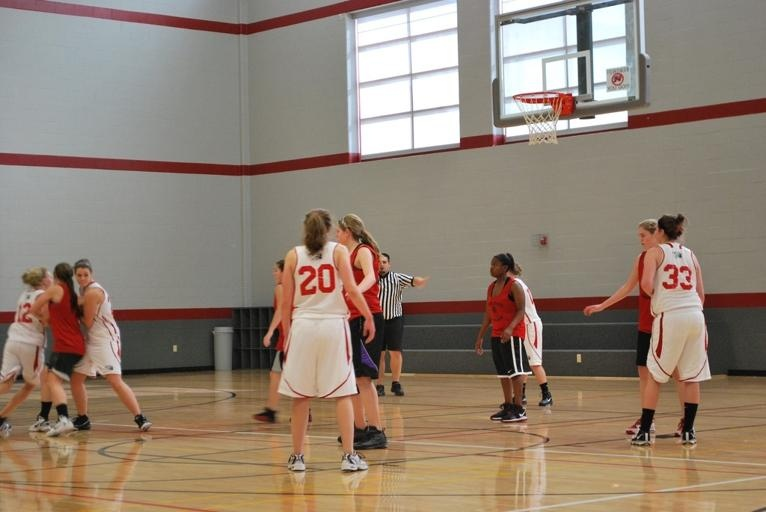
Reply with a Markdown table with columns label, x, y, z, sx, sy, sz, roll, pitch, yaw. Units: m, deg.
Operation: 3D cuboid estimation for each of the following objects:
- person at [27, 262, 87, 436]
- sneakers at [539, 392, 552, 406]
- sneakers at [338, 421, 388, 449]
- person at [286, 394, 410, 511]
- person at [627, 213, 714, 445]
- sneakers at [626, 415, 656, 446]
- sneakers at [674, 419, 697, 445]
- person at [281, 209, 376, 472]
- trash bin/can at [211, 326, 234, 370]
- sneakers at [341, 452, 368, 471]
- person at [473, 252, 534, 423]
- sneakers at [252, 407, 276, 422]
| label | x | y | z | sx | sy | sz | roll | pitch | yaw |
| --- | --- | --- | --- | --- | --- | --- | --- | --- | --- |
| person | -3.712 | 1.080 | 7.214 | 0.531 | 1.956 | 0.342 | -3 | -5 | 25 |
| sneakers | 2.335 | 2.064 | 8.988 | 0.171 | 0.162 | 0.268 | -2 | -5 | 13 |
| sneakers | -0.225 | 1.750 | 6.058 | 0.533 | 0.230 | 0.188 | 2 | -8 | -11 |
| person | -0.430 | 1.555 | 5.241 | 0.898 | 0.833 | 0.601 | 0 | -1 | 13 |
| person | 2.758 | 0.694 | 6.029 | 0.638 | 2.243 | 0.541 | -3 | -5 | 25 |
| sneakers | 2.565 | 1.736 | 6.333 | 0.234 | 0.287 | 0.597 | 0 | -2 | 3 |
| sneakers | 3.038 | 1.748 | 6.221 | 0.166 | 0.228 | 0.512 | -1 | -2 | 13 |
| person | -0.465 | 0.690 | 5.074 | 0.711 | 2.134 | 0.408 | -1 | -5 | -1 |
| trash bin/can | -4.317 | 2.491 | 16.900 | 0.539 | 1.163 | 0.478 | 1 | -5 | -15 |
| sneakers | -0.214 | 1.700 | 5.199 | 0.106 | 0.128 | 0.288 | -2 | -5 | 29 |
| person | 1.491 | 0.993 | 7.757 | 0.619 | 2.075 | 0.728 | -1 | -5 | 9 |
| sneakers | -1.533 | 2.012 | 8.039 | 0.292 | 0.177 | 0.174 | 10 | -9 | 3 |
